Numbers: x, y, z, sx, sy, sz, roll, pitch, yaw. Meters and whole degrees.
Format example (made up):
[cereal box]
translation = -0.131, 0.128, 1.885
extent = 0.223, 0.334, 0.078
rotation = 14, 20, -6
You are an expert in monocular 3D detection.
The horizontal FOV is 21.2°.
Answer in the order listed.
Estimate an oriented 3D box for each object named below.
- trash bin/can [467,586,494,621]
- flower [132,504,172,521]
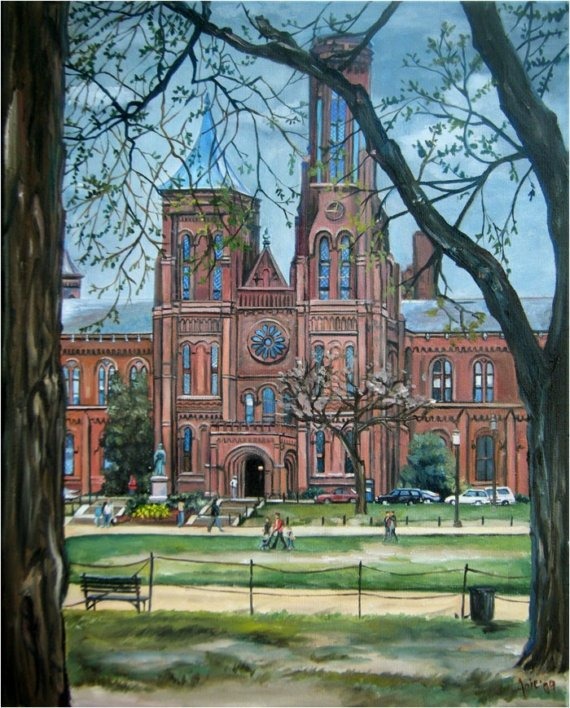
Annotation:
[trash bin/can]
translation = 3.806, 4.844, 29.216
extent = 0.507, 0.789, 0.573
rotation = -2, -4, 18
[flower]
translation = -4.040, 4.837, 46.118
extent = 1.539, 0.533, 0.633
rotation = 5, -9, -41
